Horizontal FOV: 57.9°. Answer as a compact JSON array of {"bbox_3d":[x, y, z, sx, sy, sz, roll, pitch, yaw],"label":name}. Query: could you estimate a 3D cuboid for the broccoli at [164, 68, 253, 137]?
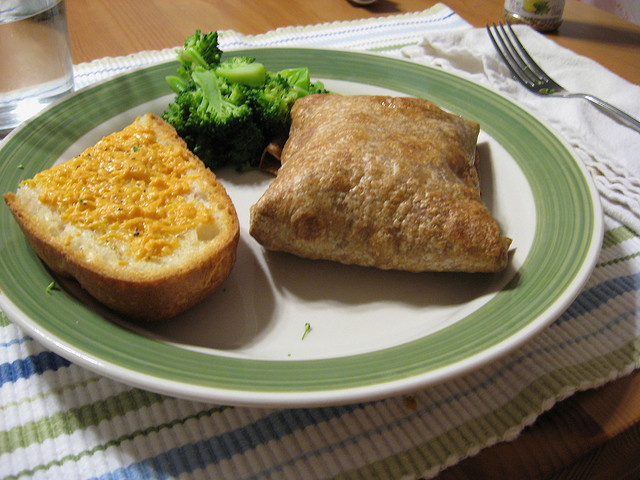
[{"bbox_3d":[-0.402,-0.576,2.257,0.374,0.138,0.383,1,46,10],"label":"broccoli"}]
